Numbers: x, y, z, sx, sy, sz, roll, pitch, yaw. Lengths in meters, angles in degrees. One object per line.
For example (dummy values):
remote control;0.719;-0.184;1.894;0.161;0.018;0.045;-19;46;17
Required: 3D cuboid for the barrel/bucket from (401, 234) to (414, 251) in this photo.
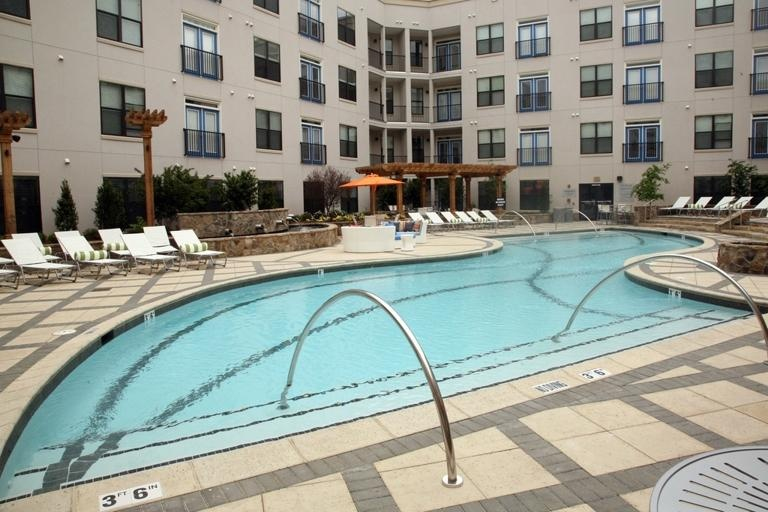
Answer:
barrel/bucket;0.812;-0.487;17.123;0.643;0.585;0.554;-1;1;-1
